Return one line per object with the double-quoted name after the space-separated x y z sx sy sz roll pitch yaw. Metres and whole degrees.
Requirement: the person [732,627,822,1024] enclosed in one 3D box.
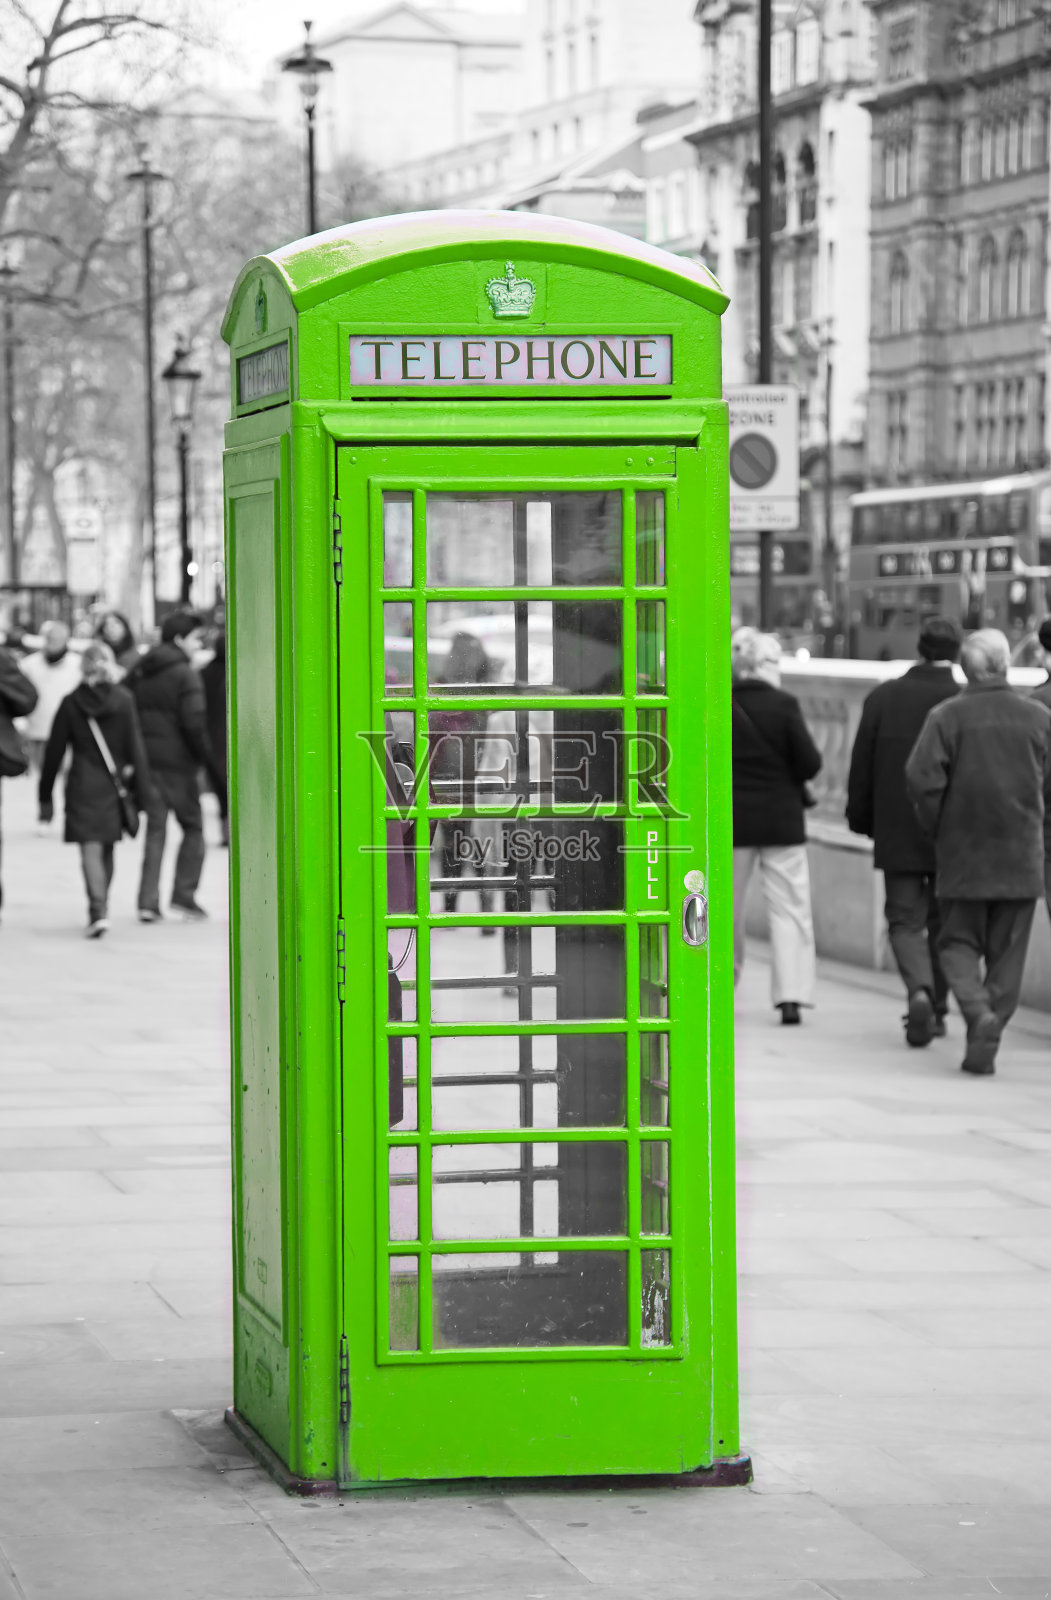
0.968 0.115 12.131 0.336 1.541 0.502 1 3 4 "person"
